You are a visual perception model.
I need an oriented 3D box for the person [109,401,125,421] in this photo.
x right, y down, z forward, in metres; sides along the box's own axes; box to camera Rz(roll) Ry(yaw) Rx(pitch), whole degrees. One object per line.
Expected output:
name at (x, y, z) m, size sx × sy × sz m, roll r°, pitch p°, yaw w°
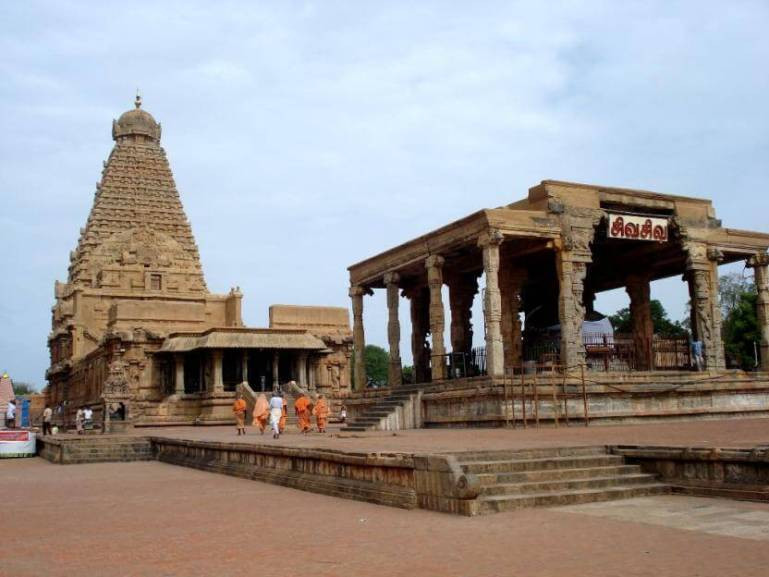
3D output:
person at (-10.944, 5.020, 38.940) m, size 0.634 × 0.701 × 0.690 m, roll 1°, pitch -10°, yaw -14°

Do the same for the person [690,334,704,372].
person at (9.513, 1.969, 28.752) m, size 0.259 × 1.019 × 0.437 m, roll -2°, pitch -10°, yaw 2°
